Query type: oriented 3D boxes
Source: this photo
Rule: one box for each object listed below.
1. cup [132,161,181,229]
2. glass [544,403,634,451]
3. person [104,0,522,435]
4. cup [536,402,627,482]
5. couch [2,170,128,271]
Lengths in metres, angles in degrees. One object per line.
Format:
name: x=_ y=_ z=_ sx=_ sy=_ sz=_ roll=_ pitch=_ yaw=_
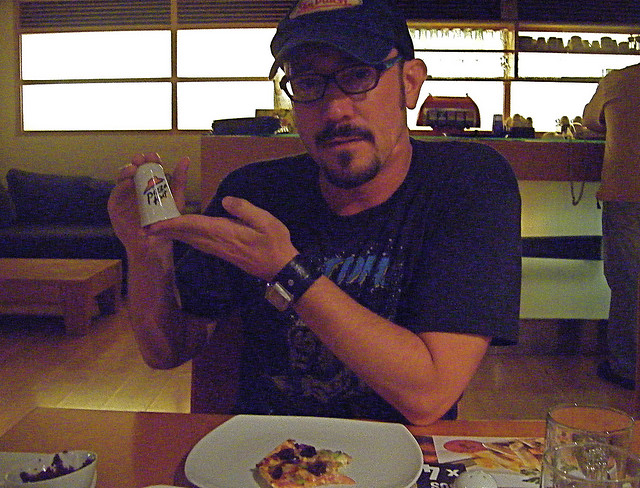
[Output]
cup: x=-0.303 y=-0.090 z=0.955 sx=0.110 sy=0.115 sz=0.053 roll=7 pitch=12 yaw=26
glass: x=0.306 y=0.207 z=0.609 sx=0.072 sy=0.050 sz=0.072 roll=1 pitch=-1 yaw=20
person: x=-0.003 y=-0.039 z=1.079 sx=0.781 sy=0.905 sz=0.475 roll=5 pitch=11 yaw=21
cup: x=0.301 y=0.215 z=0.628 sx=0.099 sy=0.095 sz=0.095 roll=0 pitch=-1 yaw=0
couch: x=-1.443 y=-0.110 z=2.961 sx=0.686 sy=0.438 sz=0.343 roll=2 pitch=-7 yaw=-7
